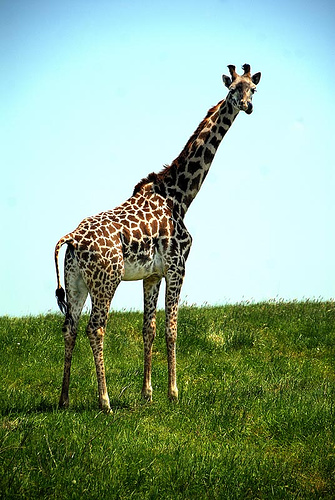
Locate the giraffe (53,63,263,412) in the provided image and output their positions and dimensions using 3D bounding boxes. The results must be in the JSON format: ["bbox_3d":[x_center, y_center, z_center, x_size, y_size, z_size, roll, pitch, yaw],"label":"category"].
[{"bbox_3d":[-0.270,-0.217,9.911,2.305,3.869,1.616,1,-1,-22],"label":"giraffe"}]
